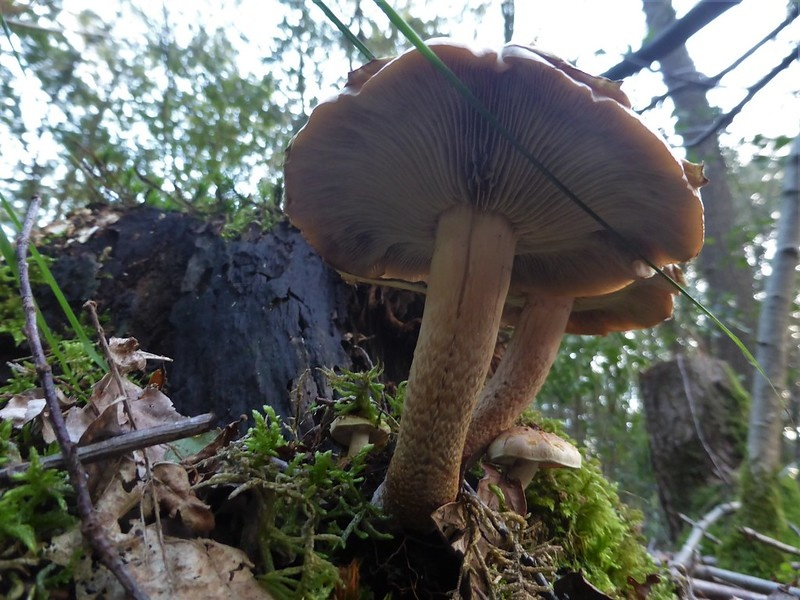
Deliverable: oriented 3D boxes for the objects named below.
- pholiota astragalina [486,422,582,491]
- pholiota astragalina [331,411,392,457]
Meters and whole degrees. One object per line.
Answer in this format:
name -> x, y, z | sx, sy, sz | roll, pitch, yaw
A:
pholiota astragalina -> 0.751, 0.780, 3.207 | 0.387, 0.259, 0.391 | 9, -5, 14
pholiota astragalina -> -0.202, 0.690, 3.043 | 0.251, 0.210, 0.259 | 4, -21, 28
